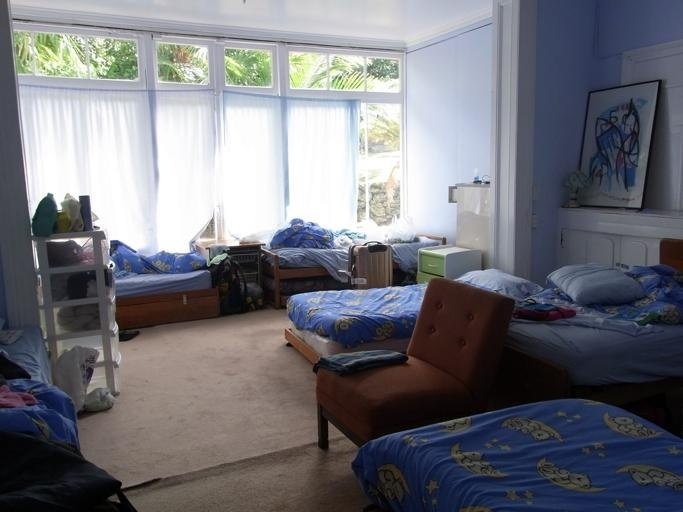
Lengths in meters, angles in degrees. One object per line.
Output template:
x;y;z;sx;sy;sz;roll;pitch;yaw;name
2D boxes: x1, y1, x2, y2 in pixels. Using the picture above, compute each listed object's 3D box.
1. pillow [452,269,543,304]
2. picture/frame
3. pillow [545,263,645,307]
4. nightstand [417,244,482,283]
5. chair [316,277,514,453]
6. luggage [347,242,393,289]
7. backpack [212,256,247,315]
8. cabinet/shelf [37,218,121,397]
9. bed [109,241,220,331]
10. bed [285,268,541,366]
1.281;0.221;4.085;0.380;0.098;0.419;-6;9;-39;pillow
2.601;-1.048;4.710;0.624;1.151;0.369;9;17;37;picture/frame
1.904;0.213;3.620;0.358;0.105;0.345;-4;14;-11;pillow
1.246;0.032;5.673;0.555;0.428;0.555;-2;4;-33;nightstand
0.427;0.705;3.024;1.115;1.021;0.877;-5;9;-40;chair
0.314;0.110;5.269;0.495;0.624;0.241;-2;9;-18;luggage
-1.270;0.331;5.680;0.358;0.617;0.235;-7;0;-15;backpack
-1.903;0.386;3.548;0.515;1.121;1.231;-6;9;-25;cabinet/shelf
-1.974;0.346;5.555;1.040;0.632;1.048;-4;10;-33;bed
0.510;0.456;4.086;1.446;0.429;1.053;-4;7;-15;bed
